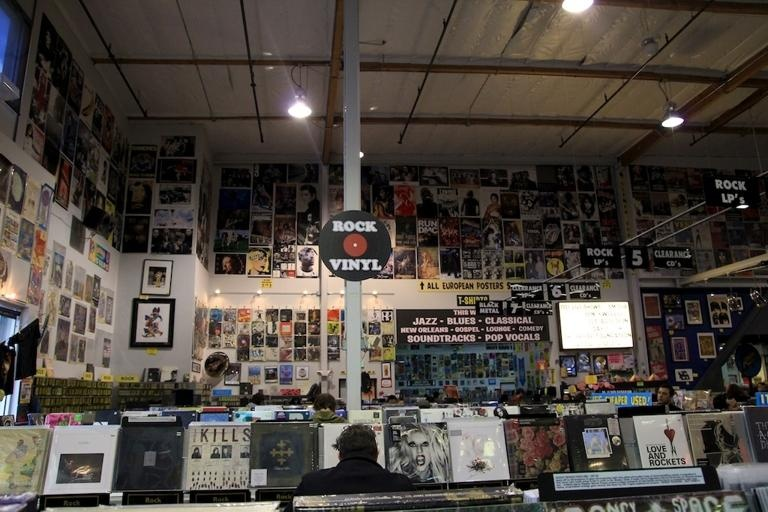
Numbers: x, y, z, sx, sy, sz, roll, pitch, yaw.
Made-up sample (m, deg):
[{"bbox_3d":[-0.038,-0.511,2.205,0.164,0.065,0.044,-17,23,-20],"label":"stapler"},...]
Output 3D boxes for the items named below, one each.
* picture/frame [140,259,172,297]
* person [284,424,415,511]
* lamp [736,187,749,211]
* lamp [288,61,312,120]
[{"bbox_3d":[-5.895,0.581,13.980,0.949,1.319,0.052,2,-20,-17],"label":"picture/frame"},{"bbox_3d":[-0.258,1.727,4.285,1.049,0.671,0.479,1,-37,-1],"label":"person"},{"bbox_3d":[6.558,-1.078,9.957,0.288,0.321,0.316,-11,-9,41],"label":"lamp"},{"bbox_3d":[-1.857,-3.902,12.578,0.580,1.168,0.540,-2,0,21],"label":"lamp"}]
